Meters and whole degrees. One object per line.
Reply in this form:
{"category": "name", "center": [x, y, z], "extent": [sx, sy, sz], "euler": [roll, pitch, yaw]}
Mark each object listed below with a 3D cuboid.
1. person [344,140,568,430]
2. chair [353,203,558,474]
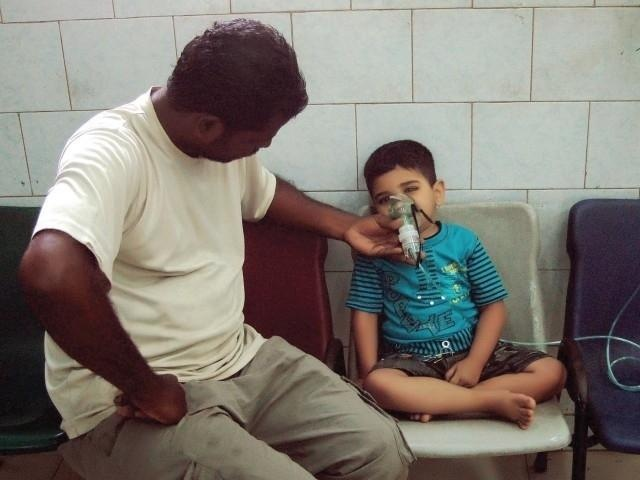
{"category": "person", "center": [0.399, 0.114, 2.063], "extent": [0.620, 0.870, 0.686], "euler": [-7, 8, 4]}
{"category": "chair", "center": [0.432, 0.280, 2.277], "extent": [0.738, 0.802, 0.899], "euler": [0, -1, 0]}
